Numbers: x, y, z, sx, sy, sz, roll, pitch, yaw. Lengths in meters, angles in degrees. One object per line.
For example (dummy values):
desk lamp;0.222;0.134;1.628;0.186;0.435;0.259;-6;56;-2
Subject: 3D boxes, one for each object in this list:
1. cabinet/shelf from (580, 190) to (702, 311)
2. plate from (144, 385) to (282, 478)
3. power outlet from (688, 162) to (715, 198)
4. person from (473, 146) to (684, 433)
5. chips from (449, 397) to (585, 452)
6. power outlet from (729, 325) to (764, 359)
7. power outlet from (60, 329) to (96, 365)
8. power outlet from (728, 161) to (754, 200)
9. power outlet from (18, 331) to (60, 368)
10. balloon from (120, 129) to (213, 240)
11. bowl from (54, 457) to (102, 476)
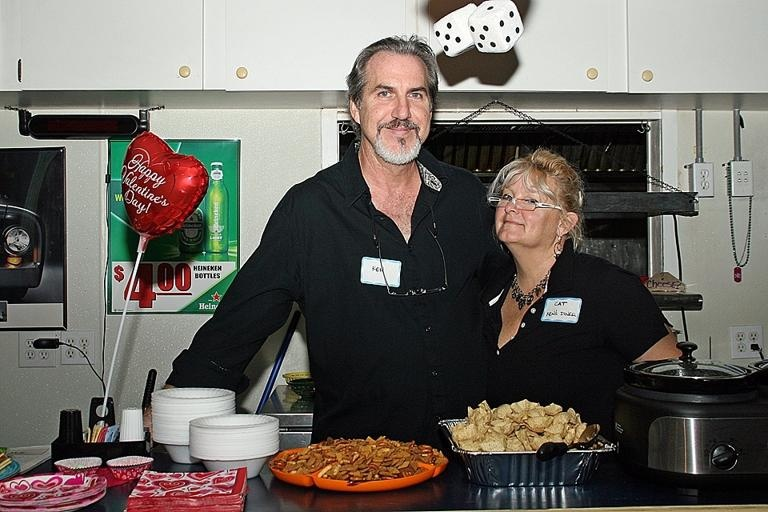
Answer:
cabinet/shelf;1.183;-0.025;3.031;0.647;0.523;0.217;0;1;2
plate;-0.525;0.488;2.062;0.325;0.216;0.354;0;2;-16
power outlet;1.602;-0.372;3.404;0.133;0.171;0.050;1;-4;-11
person;0.677;0.164;2.410;0.519;1.111;0.495;0;-3;-7
chips;0.401;0.471;1.924;0.403;0.128;0.115;0;-3;-6
power outlet;1.820;0.433;3.399;0.170;0.159;0.017;-1;-3;0
power outlet;-1.497;0.448;3.308;0.182;0.170;0.018;0;-2;-5
power outlet;1.805;-0.379;3.443;0.125;0.176;0.117;1;-3;-14
power outlet;-1.689;0.457;3.304;0.190;0.168;0.031;0;-1;-2
balloon;-0.731;-0.230;2.326;0.201;0.354;0.249;5;1;-4
bowl;-0.886;0.607;1.961;0.127;0.032;0.173;1;-3;-24
